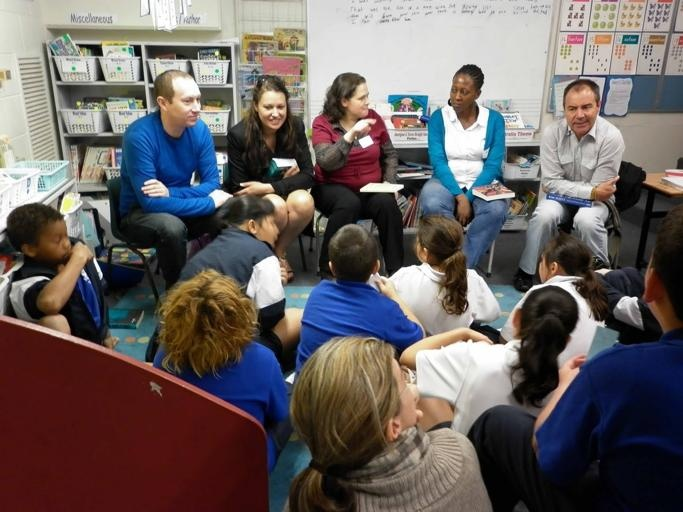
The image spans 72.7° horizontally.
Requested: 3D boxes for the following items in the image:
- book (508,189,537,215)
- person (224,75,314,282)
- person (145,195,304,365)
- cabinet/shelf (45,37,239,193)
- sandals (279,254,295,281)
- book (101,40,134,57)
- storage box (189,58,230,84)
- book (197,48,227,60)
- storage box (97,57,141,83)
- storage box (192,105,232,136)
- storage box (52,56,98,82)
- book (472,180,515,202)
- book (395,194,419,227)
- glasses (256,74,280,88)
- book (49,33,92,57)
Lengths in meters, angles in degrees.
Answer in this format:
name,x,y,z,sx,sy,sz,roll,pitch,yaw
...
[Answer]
name,x,y,z,sx,sy,sz,roll,pitch,yaw
book,1.673,-0.468,4.169,0.214,0.302,0.086,11,8,40
person,-0.438,-0.534,3.232,0.525,1.325,0.742,-17,26,-41
person,-0.503,0.179,2.243,0.687,0.917,0.596,11,-4,-44
cabinet/shelf,-1.523,-1.086,3.468,1.289,1.336,0.433,1,5,-1
sandals,-0.359,0.061,3.200,0.058,0.177,0.132,-30,2,17
book,-1.826,-1.670,3.742,0.235,0.115,0.260,-11,27,-23
storage box,-1.075,-1.480,3.759,0.244,0.138,0.184,1,11,10
book,-1.089,-1.660,3.811,0.174,0.061,0.192,-6,24,-9
storage box,-1.806,-1.492,3.723,0.266,0.152,0.194,-4,12,-16
storage box,-1.064,-1.149,3.922,0.335,0.235,0.262,0,14,2
storage box,-2.148,-1.509,3.716,0.207,0.152,0.294,-1,4,-11
book,1.129,-0.464,3.326,0.303,0.083,0.240,-14,28,-29
book,0.558,-0.373,3.762,0.233,0.076,0.182,-14,17,12
glasses,-0.486,-1.160,3.086,0.111,0.064,0.129,2,21,2
book,-2.283,-1.716,3.773,0.338,0.163,0.300,-1,24,-3
